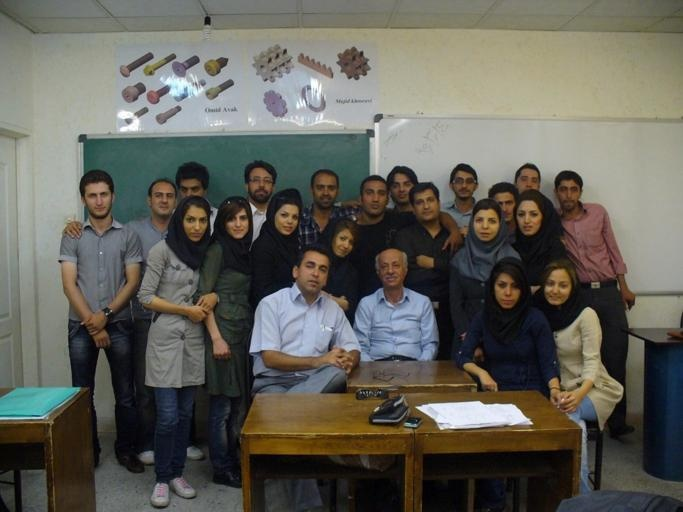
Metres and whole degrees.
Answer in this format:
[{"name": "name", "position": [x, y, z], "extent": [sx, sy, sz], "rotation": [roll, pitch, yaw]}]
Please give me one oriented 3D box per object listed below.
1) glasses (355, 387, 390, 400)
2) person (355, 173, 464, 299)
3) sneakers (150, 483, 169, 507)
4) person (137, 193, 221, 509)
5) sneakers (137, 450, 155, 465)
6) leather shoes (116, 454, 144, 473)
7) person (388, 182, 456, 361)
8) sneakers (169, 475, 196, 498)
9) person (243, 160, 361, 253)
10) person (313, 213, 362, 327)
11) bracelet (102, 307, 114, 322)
[{"name": "glasses", "position": [0.175, 0.759, 3.180], "extent": [0.121, 0.043, 0.079], "rotation": [-2, -1, 3]}, {"name": "person", "position": [0.504, -0.122, 4.463], "extent": [0.985, 0.967, 0.293], "rotation": [0, -20, -8]}, {"name": "sneakers", "position": [-1.174, 1.538, 3.712], "extent": [0.121, 0.136, 0.120], "rotation": [-2, 3, -22]}, {"name": "person", "position": [-1.052, 0.610, 3.753], "extent": [0.482, 1.984, 0.185], "rotation": [-2, 3, -20]}, {"name": "sneakers", "position": [-1.429, 1.479, 4.220], "extent": [0.059, 0.064, 0.159], "rotation": [3, -3, -23]}, {"name": "leather shoes", "position": [-1.511, 1.481, 4.123], "extent": [0.230, 0.092, 0.087], "rotation": [8, 9, 37]}, {"name": "person", "position": [0.767, 0.263, 4.650], "extent": [0.521, 1.763, 0.521], "rotation": [-5, 15, 14]}, {"name": "sneakers", "position": [-1.054, 1.517, 3.813], "extent": [0.082, 0.084, 0.210], "rotation": [-10, 9, -42]}, {"name": "person", "position": [-0.329, -0.369, 4.444], "extent": [0.716, 0.905, 0.298], "rotation": [-2, -6, -7]}, {"name": "person", "position": [-0.035, 0.233, 4.469], "extent": [0.409, 1.095, 0.323], "rotation": [6, 6, -2]}, {"name": "bracelet", "position": [-1.643, 0.408, 4.051], "extent": [0.072, 0.103, 0.094], "rotation": [-16, 20, -30]}]
